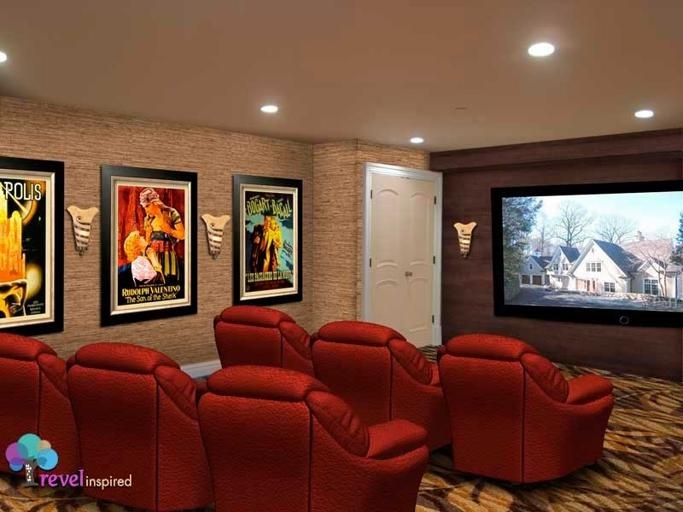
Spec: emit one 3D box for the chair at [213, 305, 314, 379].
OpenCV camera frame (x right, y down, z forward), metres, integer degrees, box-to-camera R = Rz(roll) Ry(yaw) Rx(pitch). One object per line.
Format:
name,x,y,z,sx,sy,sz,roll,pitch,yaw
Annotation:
chair,-0.590,0.631,4.048,0.728,0.762,0.597,1,1,30

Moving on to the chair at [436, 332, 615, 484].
chair,1.276,0.915,3.320,1.118,0.937,1.084,0,2,39
